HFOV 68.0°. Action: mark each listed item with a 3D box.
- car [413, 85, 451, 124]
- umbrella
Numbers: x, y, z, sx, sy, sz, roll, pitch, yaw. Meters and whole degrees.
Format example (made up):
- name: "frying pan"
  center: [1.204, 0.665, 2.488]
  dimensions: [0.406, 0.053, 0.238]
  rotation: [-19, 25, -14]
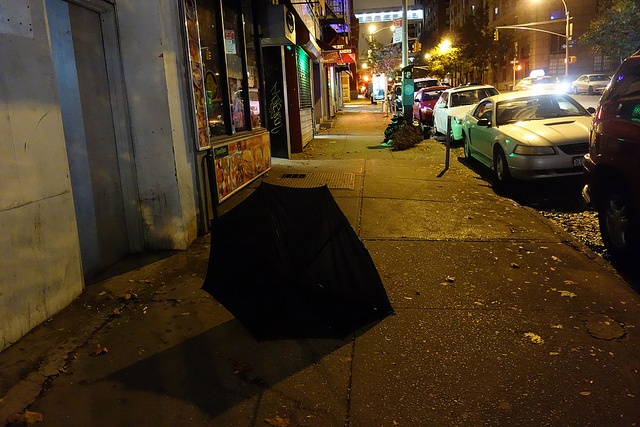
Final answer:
- name: "car"
  center: [5.171, -5.070, 22.437]
  dimensions: [1.219, 0.937, 2.862]
  rotation: [-4, 22, 6]
- name: "umbrella"
  center: [-0.230, 0.523, 4.584]
  dimensions: [1.480, 1.544, 0.562]
  rotation: [-32, 8, 17]
